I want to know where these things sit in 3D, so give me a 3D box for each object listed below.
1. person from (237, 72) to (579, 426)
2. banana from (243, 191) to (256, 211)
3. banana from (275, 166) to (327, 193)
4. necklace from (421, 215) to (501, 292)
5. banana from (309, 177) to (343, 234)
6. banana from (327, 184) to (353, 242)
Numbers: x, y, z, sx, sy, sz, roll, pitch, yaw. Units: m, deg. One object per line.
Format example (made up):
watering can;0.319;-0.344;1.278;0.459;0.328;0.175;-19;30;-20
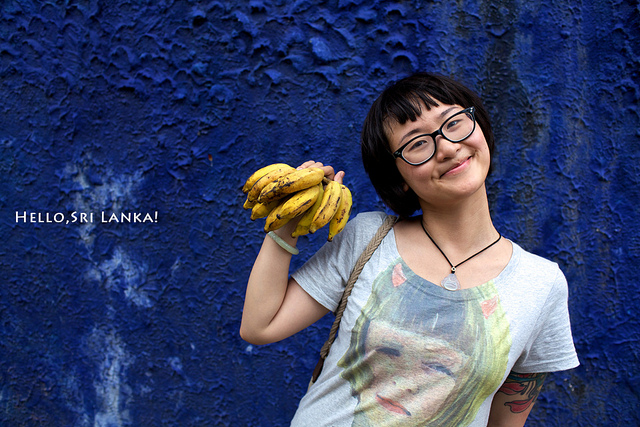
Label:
person;0.278;0.239;2.349;0.986;0.617;1.131;-19;70;-18
banana;-0.255;-0.046;2.409;0.029;0.080;0.021;-15;36;-43
banana;-0.064;-0.113;2.337;0.214;0.072;0.063;-14;36;-22
necklace;0.479;0.156;2.290;0.143;0.110;0.156;2;103;-3
banana;0.016;-0.031;2.295;0.092;0.090;0.177;4;98;-7
banana;0.068;0.004;2.372;0.072;0.056;0.210;15;81;26
